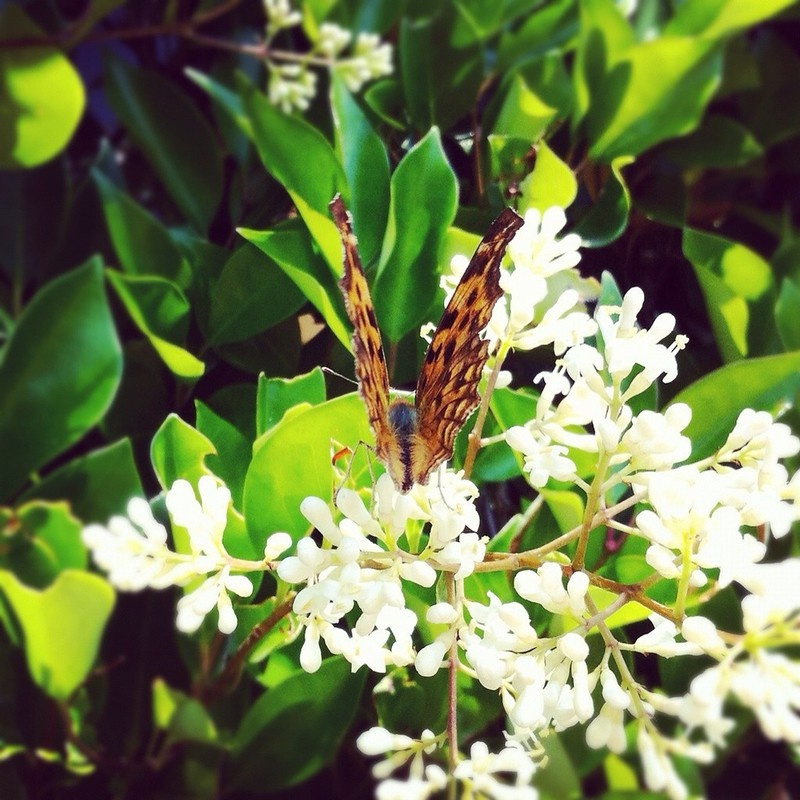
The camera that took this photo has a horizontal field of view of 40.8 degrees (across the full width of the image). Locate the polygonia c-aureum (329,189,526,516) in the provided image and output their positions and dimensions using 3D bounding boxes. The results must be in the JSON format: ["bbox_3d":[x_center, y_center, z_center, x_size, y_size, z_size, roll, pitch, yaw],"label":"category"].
[{"bbox_3d":[0.028,-0.018,0.919,0.144,0.254,0.240,1,31,4],"label":"polygonia c-aureum"}]

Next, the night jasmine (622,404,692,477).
[{"bbox_3d":[0.200,0.030,0.836,0.042,0.057,0.037,-12,-21,-19],"label":"night jasmine"}]

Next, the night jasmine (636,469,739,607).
[{"bbox_3d":[0.214,0.092,0.837,0.091,0.106,0.072,6,19,2],"label":"night jasmine"}]
